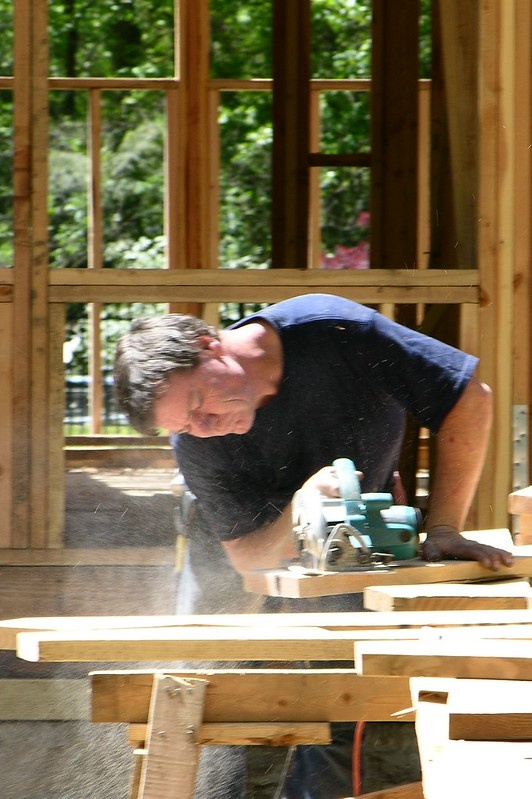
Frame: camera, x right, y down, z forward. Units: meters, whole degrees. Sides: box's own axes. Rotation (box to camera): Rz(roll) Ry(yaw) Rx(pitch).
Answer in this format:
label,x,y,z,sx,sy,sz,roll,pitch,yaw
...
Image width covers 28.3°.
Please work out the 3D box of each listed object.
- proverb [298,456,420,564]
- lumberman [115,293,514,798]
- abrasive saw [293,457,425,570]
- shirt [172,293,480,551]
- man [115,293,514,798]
label,x,y,z,sx,sy,sz,roll,pitch,yaw
proverb,0.231,0.292,2.771,0.371,0.230,0.235,0,1,-7
lumberman,0.141,0.129,3.133,1.018,0.849,0.623,0,9,12
abrasive saw,0.253,0.259,2.723,0.477,0.282,0.273,1,1,-15
shirt,0.194,0.023,3.253,0.754,0.841,0.687,-1,5,-35
man,0.141,0.129,3.132,1.018,0.849,0.624,0,9,12
